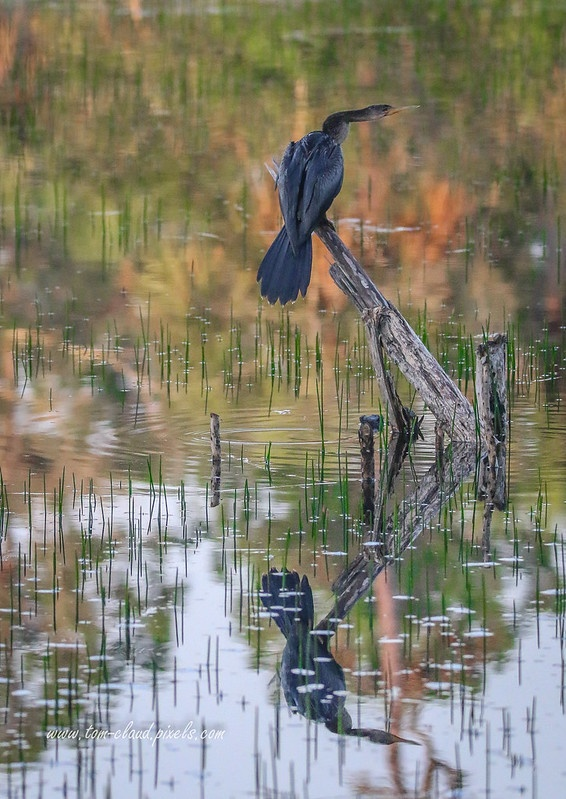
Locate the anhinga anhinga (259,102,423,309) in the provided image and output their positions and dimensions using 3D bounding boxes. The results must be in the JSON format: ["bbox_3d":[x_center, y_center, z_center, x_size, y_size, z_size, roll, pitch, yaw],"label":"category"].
[{"bbox_3d":[0.181,-1.178,10.396,0.336,0.646,1.475,2,45,40],"label":"anhinga anhinga"}]
